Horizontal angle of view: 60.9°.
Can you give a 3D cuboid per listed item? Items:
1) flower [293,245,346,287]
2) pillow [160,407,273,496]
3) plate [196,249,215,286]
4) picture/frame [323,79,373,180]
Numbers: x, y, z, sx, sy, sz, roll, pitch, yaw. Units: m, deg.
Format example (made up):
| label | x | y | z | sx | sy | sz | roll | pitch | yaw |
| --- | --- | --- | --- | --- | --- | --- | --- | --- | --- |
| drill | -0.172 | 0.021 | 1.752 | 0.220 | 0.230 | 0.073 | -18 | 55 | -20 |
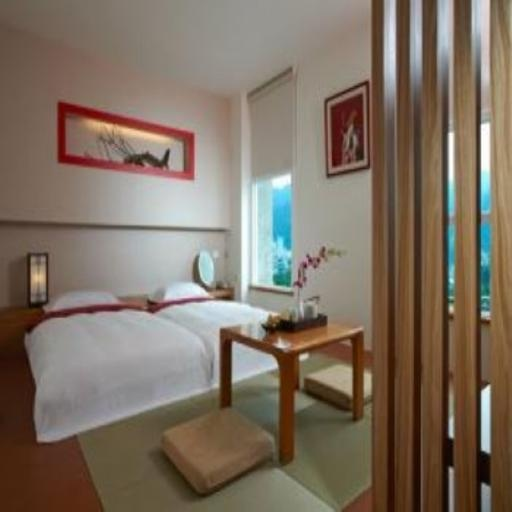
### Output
| label | x | y | z | sx | sy | sz | roll | pitch | yaw |
| --- | --- | --- | --- | --- | --- | --- | --- | --- | --- |
| flower | 0.241 | 0.031 | 1.631 | 0.247 | 0.157 | 0.067 | -19 | 16 | -34 |
| pillow | -0.117 | 0.589 | 1.361 | 0.296 | 0.077 | 0.238 | -9 | 18 | -38 |
| plate | -0.296 | 0.072 | 2.560 | 0.103 | 0.181 | 0.233 | 0 | 13 | -6 |
| picture/frame | 0.321 | -0.441 | 1.522 | 0.092 | 0.335 | 0.244 | -7 | 15 | -36 |
